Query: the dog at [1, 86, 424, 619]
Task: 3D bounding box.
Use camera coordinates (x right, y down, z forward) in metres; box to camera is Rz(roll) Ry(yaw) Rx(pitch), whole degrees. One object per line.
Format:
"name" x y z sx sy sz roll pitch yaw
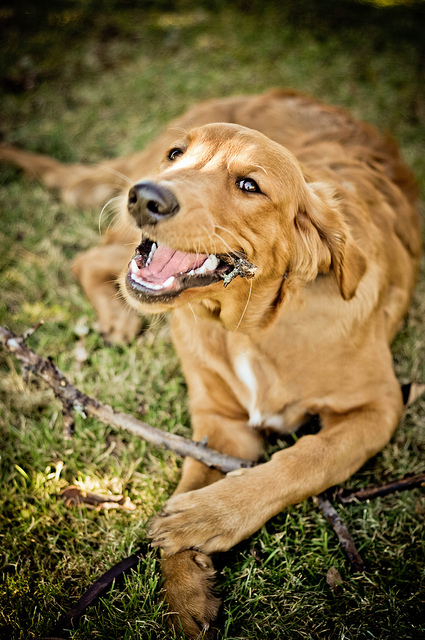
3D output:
"dog" 0.190 -0.161 3.543 2.268 1.447 2.770 5 48 7
